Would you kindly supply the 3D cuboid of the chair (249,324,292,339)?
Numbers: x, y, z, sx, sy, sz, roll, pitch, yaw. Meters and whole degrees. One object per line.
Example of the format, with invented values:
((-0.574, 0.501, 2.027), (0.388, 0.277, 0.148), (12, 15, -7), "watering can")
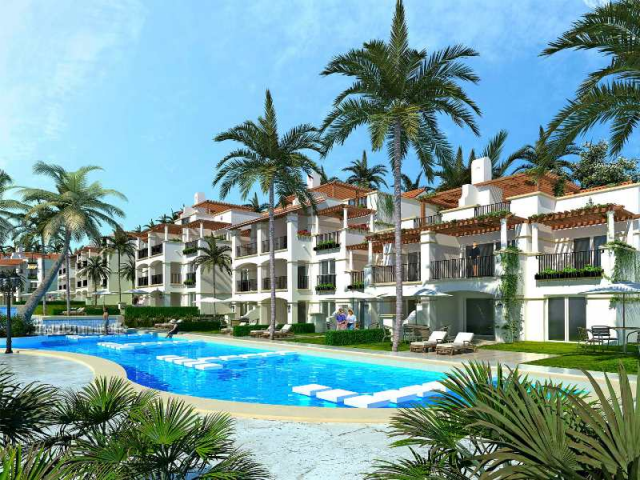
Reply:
((-2.741, 5.439, 39.745), (1.516, 0.657, 1.044), (3, -8, -11), "chair")

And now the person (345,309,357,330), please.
((1.752, 4.435, 38.233), (0.499, 1.134, 1.248), (1, -10, 2), "person")

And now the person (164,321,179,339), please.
((-9.255, 5.674, 42.734), (0.876, 0.304, 0.285), (-40, -30, 27), "person")
